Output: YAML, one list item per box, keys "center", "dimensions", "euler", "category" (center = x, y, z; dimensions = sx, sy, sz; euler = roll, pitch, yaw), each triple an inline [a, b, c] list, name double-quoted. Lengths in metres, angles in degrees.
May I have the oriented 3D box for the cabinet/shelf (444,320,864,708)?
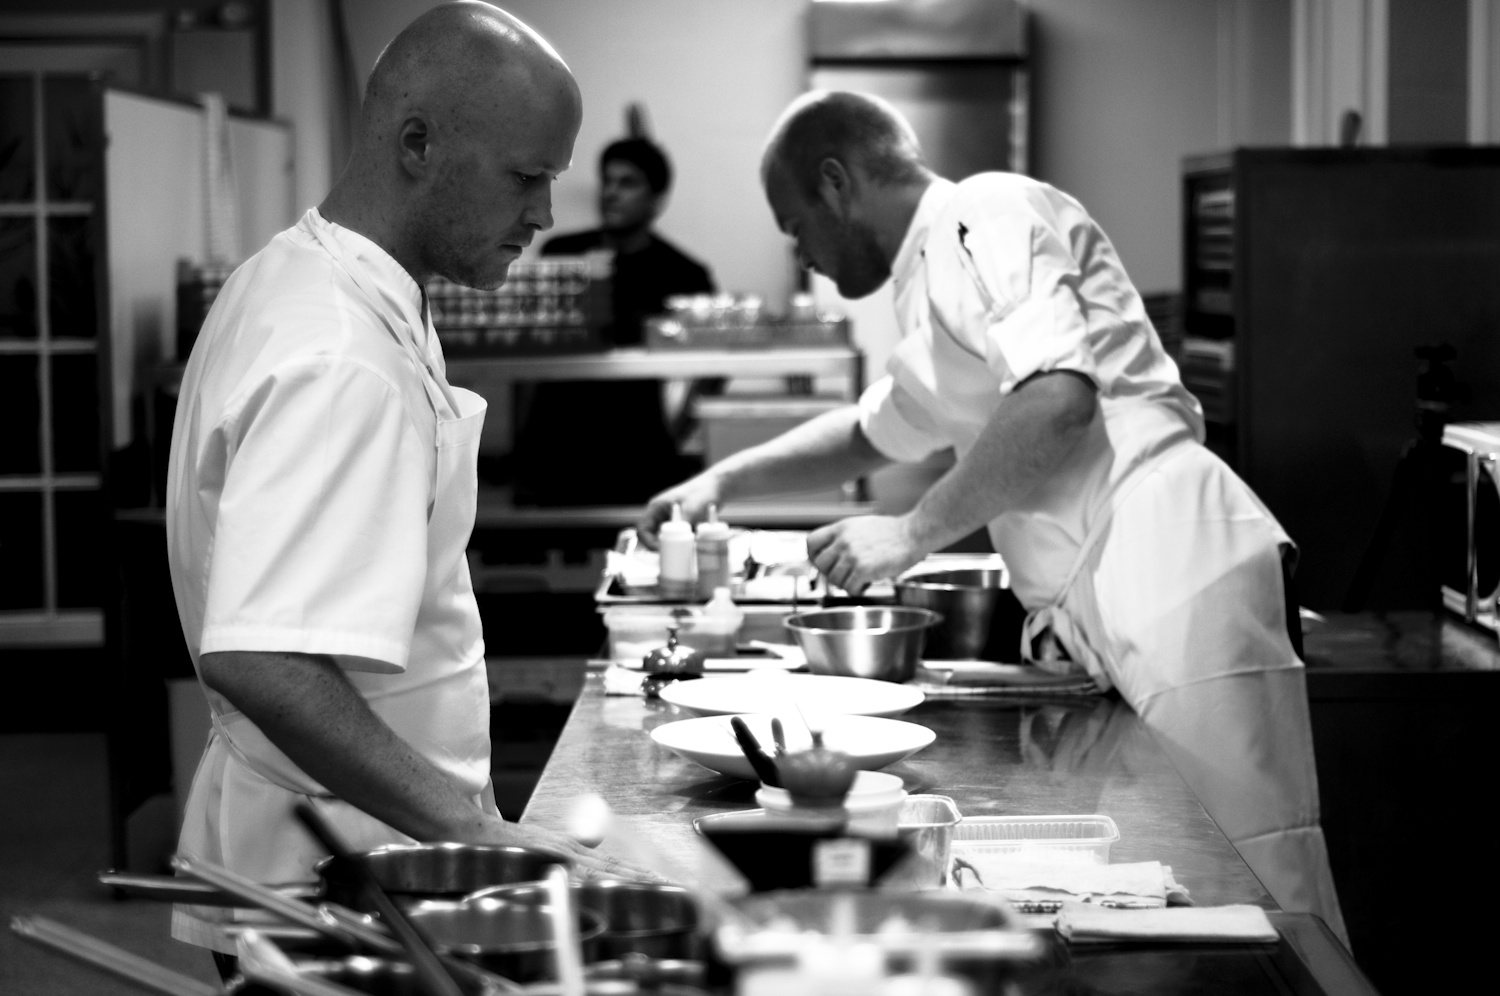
- center: [-0.427, 0.136, 6.430]
  dimensions: [1.567, 1.444, 1.065]
  euler: [-1, 2, -1]
  category: "cabinet/shelf"

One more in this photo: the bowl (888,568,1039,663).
- center: [0.489, 0.258, 4.216]
  dimensions: [0.218, 0.140, 0.213]
  euler: [-2, -4, 0]
  category: "bowl"

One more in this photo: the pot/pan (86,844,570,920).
- center: [-0.575, 0.548, 2.821]
  dimensions: [0.460, 0.069, 0.230]
  euler: [1, -2, -25]
  category: "pot/pan"
